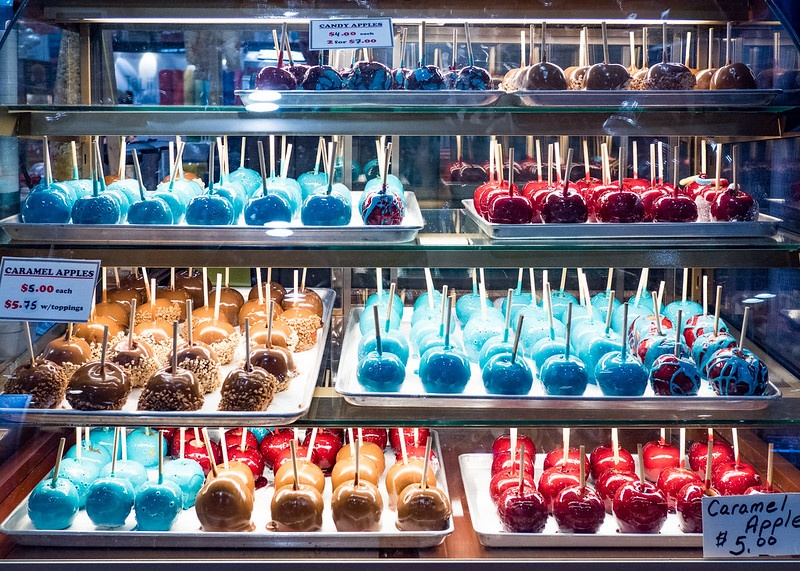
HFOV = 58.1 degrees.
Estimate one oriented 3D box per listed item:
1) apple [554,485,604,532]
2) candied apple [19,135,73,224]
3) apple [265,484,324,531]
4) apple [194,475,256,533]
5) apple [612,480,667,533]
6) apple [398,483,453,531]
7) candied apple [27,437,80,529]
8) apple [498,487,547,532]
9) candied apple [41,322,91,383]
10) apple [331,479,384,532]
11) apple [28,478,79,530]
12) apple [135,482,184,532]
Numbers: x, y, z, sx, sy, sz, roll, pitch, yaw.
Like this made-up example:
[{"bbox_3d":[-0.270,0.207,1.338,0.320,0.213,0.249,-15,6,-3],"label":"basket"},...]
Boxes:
[{"bbox_3d":[0.385,0.485,1.551,0.100,0.097,0.111,-2,-73,-6],"label":"apple"},{"bbox_3d":[-0.750,-0.214,1.538,0.114,0.112,0.222,-1,-82,-5],"label":"candied apple"},{"bbox_3d":[-0.220,0.480,1.537,0.099,0.098,0.091,2,-91,-8],"label":"apple"},{"bbox_3d":[-0.373,0.470,1.586,0.113,0.116,0.114,-3,-80,10],"label":"apple"},{"bbox_3d":[0.536,0.497,1.593,0.114,0.116,0.113,2,-80,34],"label":"apple"},{"bbox_3d":[0.049,0.495,1.595,0.131,0.128,0.092,-4,-99,26],"label":"apple"},{"bbox_3d":[-0.748,0.431,1.567,0.093,0.093,0.198,12,-80,6],"label":"candied apple"},{"bbox_3d":[0.265,0.503,1.600,0.112,0.112,0.109,-5,-77,11],"label":"apple"},{"bbox_3d":[-0.719,0.147,1.563,0.108,0.106,0.143,2,-89,-4],"label":"candied apple"},{"bbox_3d":[-0.090,0.490,1.591,0.125,0.124,0.116,-1,-79,3],"label":"apple"},{"bbox_3d":[-0.738,0.470,1.539,0.100,0.100,0.096,3,-88,-2],"label":"apple"},{"bbox_3d":[-0.517,0.476,1.598,0.095,0.095,0.110,3,-85,24],"label":"apple"}]
